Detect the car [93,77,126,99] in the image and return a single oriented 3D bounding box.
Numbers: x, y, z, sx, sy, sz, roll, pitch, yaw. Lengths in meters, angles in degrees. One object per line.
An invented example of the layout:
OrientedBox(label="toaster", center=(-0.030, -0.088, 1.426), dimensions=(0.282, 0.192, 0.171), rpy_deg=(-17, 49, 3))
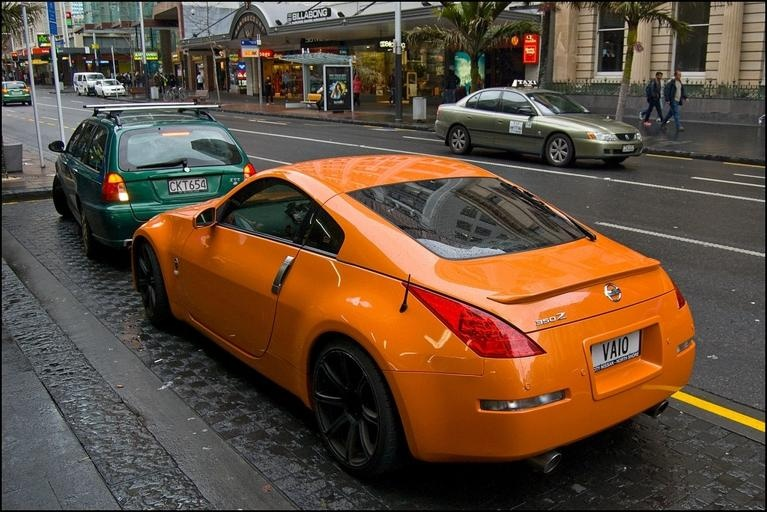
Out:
OrientedBox(label="car", center=(-32.195, -19.708, 56.919), dimensions=(4.253, 2.127, 2.227), rpy_deg=(9, 17, 35))

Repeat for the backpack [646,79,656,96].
OrientedBox(label="backpack", center=(12.398, -7.624, 22.203), dimensions=(0.549, 0.857, 0.448), rpy_deg=(6, 16, 28))

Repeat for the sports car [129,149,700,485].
OrientedBox(label="sports car", center=(-0.291, 0.083, 4.029), dimensions=(2.059, 1.302, 4.215), rpy_deg=(-10, 21, -39))

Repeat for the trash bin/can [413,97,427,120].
OrientedBox(label="trash bin/can", center=(1.982, -8.068, 26.596), dimensions=(0.726, 1.255, 0.508), rpy_deg=(-5, 14, -12))

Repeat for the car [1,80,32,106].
OrientedBox(label="car", center=(-36.481, -16.045, 47.891), dimensions=(1.742, 2.442, 3.584), rpy_deg=(3, 15, 17))
